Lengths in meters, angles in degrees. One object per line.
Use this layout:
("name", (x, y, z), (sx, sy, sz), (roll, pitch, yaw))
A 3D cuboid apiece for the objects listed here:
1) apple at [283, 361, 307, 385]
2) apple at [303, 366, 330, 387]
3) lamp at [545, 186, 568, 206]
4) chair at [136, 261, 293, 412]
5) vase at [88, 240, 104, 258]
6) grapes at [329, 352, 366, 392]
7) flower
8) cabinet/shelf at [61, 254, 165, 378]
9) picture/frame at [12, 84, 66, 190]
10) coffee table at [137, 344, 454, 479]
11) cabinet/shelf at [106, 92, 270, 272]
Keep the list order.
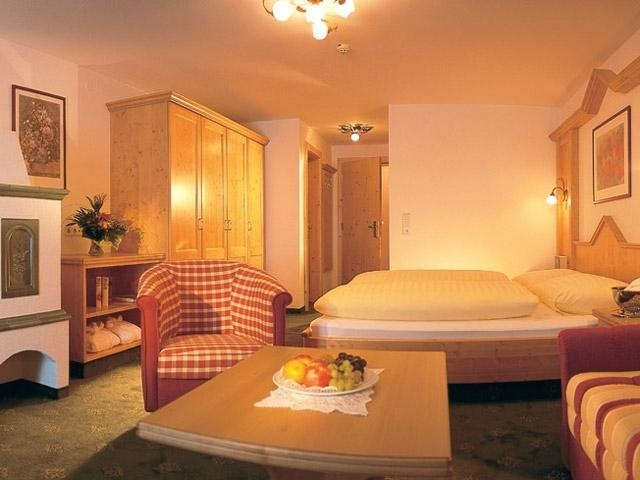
("apple", (-0.121, 0.634, 2.341), (0.109, 0.107, 0.108), (11, -5, 13))
("apple", (-0.014, 0.647, 2.343), (0.099, 0.092, 0.100), (4, 0, 23))
("lamp", (2.777, -0.514, 5.566), (0.209, 0.225, 0.481), (3, 11, 25))
("chair", (-0.799, 0.559, 3.605), (1.227, 1.134, 0.984), (1, -8, -12))
("vase", (-2.105, 0.080, 4.500), (0.151, 0.156, 0.147), (-1, 3, -34))
("grapes", (0.129, 0.640, 2.291), (0.111, 0.101, 0.181), (1, -2, 3))
("flower", (-2.146, -0.169, 4.612), (0.536, 0.496, 0.538), (1, 1, 29))
("cabinet/shelf", (-1.760, 0.643, 3.999), (0.580, 0.962, 1.064), (0, 1, 11))
("picture/frame", (-2.554, -0.948, 4.449), (0.167, 0.916, 0.523), (3, 11, 25))
("coffee table", (-0.033, 0.798, 2.379), (1.287, 0.208, 0.956), (1, 10, 12))
("cabinet/shelf", (-1.446, -0.418, 5.757), (0.761, 2.024, 2.106), (-1, -1, 20))
